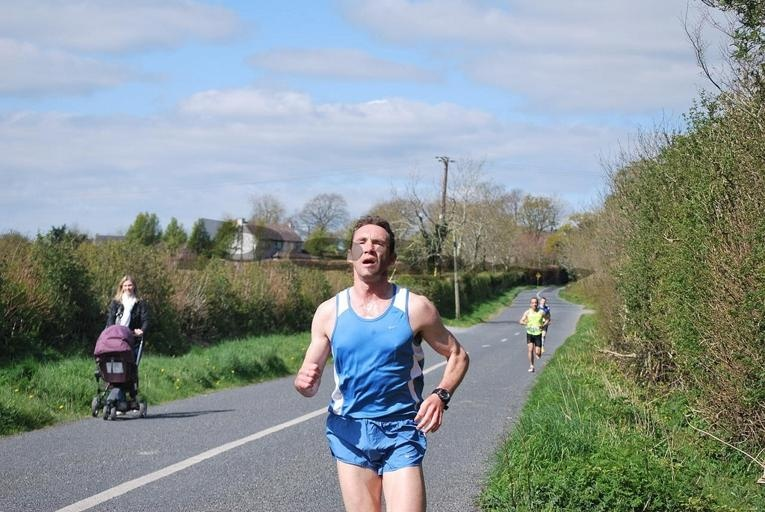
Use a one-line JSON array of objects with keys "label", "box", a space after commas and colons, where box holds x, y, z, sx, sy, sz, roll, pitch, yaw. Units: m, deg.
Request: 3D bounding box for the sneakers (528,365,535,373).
[{"label": "sneakers", "box": [3.789, 2.939, 20.298, 0.162, 0.177, 0.263, -14, 11, 16]}]

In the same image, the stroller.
[{"label": "stroller", "box": [-4.718, 2.047, 14.135, 0.885, 1.658, 1.049, 0, 0, -23]}]
